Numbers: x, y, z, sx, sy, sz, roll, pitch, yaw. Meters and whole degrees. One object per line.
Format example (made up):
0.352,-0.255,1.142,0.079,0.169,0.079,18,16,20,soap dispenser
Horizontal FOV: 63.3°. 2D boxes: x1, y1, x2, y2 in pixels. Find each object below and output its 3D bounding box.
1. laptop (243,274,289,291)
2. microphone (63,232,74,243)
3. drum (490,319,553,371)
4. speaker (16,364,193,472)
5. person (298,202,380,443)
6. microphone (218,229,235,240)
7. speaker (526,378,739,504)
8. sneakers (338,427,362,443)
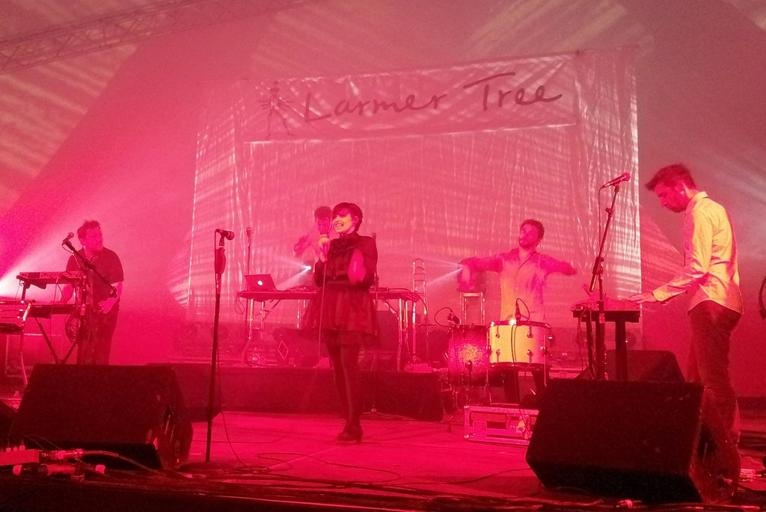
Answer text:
-1.547,0.336,7.893,0.414,0.270,0.247,0,-14,0,laptop
-3.974,-0.242,7.847,0.091,0.091,0.255,47,-17,-18,microphone
1.312,0.842,5.819,0.470,0.304,0.475,1,-9,0,drum
-1.735,0.967,3.869,0.833,0.512,0.700,3,9,10,speaker
-0.336,0.527,5.227,0.538,1.989,0.435,1,-14,-1,person
-1.195,-0.162,4.743,0.112,0.106,0.357,4,-1,-12,microphone
1.354,1.041,3.607,0.972,0.671,0.730,-7,-22,31,speaker
-0.269,1.470,5.108,0.173,0.100,0.110,7,-15,-10,sneakers
